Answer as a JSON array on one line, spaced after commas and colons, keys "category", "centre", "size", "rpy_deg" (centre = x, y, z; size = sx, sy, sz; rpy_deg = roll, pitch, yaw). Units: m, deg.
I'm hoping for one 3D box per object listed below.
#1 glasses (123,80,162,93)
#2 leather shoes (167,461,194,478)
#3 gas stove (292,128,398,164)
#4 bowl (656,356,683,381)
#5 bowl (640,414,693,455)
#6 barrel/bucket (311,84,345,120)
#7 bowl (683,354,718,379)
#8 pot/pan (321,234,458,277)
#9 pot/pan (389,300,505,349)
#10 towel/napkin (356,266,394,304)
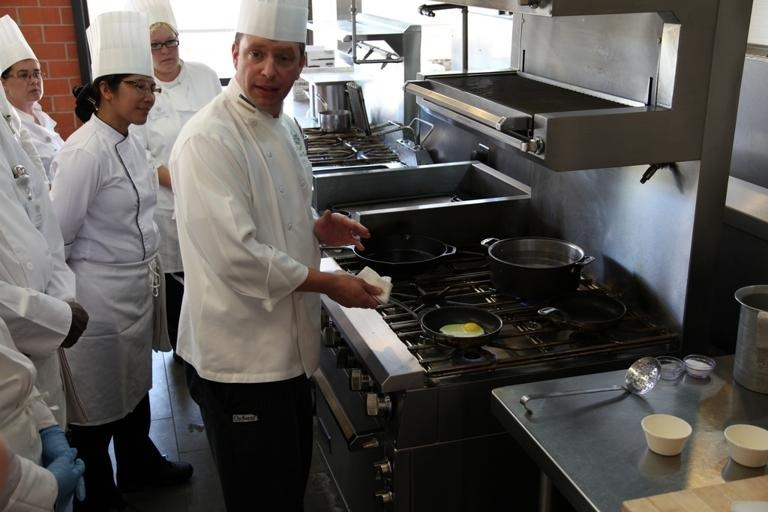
[{"category": "glasses", "centre": [-0.981, -0.685, 2.182], "size": [0.113, 0.045, 0.042], "rpy_deg": [-14, 21, -36]}, {"category": "leather shoes", "centre": [-0.939, 0.993, 2.523], "size": [0.155, 0.066, 0.050], "rpy_deg": [4, 15, -13]}, {"category": "gas stove", "centre": [-0.243, -0.680, 3.460], "size": [0.511, 0.087, 0.544], "rpy_deg": [-6, 28, -17]}, {"category": "bowl", "centre": [0.845, 0.336, 1.604], "size": [0.071, 0.029, 0.070], "rpy_deg": [-1, 17, 0]}, {"category": "bowl", "centre": [0.709, 0.453, 1.360], "size": [0.110, 0.051, 0.112], "rpy_deg": [-8, 13, 2]}, {"category": "barrel/bucket", "centre": [-0.394, -1.138, 3.931], "size": [0.318, 0.298, 0.171], "rpy_deg": [-3, 22, -3]}, {"category": "bowl", "centre": [0.927, 0.327, 1.598], "size": [0.071, 0.032, 0.069], "rpy_deg": [0, 18, 0]}, {"category": "pot/pan", "centre": [0.072, -0.019, 2.256], "size": [0.343, 0.044, 0.205], "rpy_deg": [-5, 22, -4]}, {"category": "pot/pan", "centre": [0.237, 0.218, 1.836], "size": [0.266, 0.058, 0.360], "rpy_deg": [-6, 18, -16]}, {"category": "towel/napkin", "centre": [-0.028, 0.088, 1.757], "size": [0.116, 0.039, 0.119], "rpy_deg": [32, 62, 18]}]
